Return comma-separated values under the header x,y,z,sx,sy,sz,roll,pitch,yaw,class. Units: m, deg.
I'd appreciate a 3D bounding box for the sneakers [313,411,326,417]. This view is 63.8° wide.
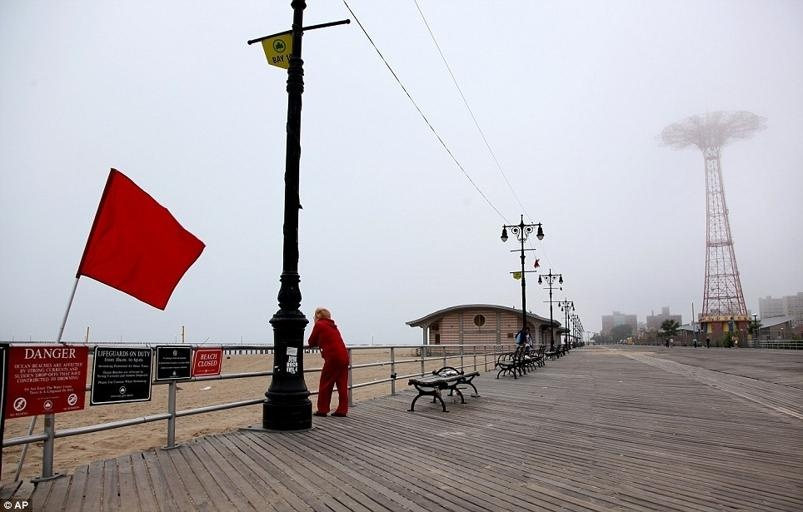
x,y,z,sx,sy,sz,roll,pitch,yaw,class
-1.746,3.390,13.807,0.271,0.122,0.105,6,-9,28,sneakers

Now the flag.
x,y,z,sx,sy,sz,roll,pitch,yaw,class
-4.488,-0.177,10.738,1.578,1.988,0.268,40,-14,-31,flag

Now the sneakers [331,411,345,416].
x,y,z,sx,sy,sz,roll,pitch,yaw,class
-1.371,3.455,13.924,0.301,0.134,0.116,-1,-12,32,sneakers

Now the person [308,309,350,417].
x,y,z,sx,sy,sz,roll,pitch,yaw,class
-1.532,2.288,13.622,0.804,2.254,1.546,-1,-12,-6,person
